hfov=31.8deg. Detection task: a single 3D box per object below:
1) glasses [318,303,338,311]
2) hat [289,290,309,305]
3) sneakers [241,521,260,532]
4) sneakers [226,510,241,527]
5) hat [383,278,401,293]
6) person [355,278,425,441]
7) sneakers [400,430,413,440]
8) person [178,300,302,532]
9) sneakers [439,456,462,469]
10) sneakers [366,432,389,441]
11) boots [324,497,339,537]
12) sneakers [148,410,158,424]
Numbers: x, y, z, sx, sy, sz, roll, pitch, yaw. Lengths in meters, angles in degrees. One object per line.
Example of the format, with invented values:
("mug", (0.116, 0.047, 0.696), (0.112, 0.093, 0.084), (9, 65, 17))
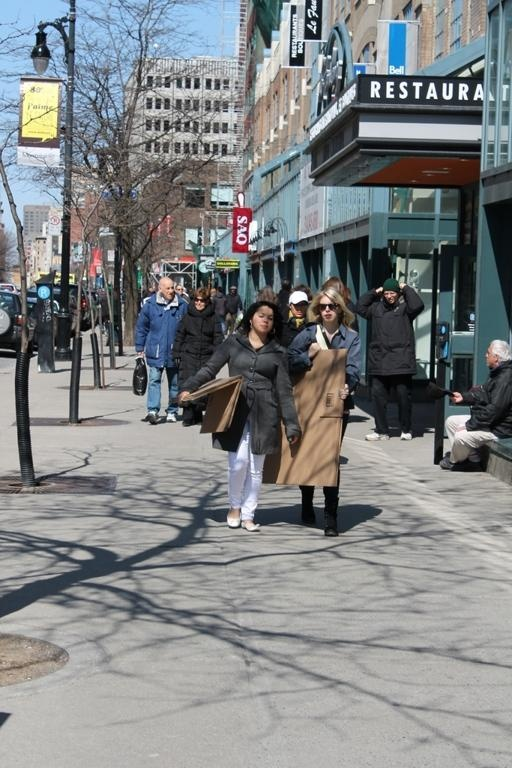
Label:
("glasses", (0.537, -0.588, 6.877), (0.136, 0.063, 0.083), (2, 2, 16))
("hat", (0.474, -0.956, 9.964), (0.222, 0.114, 0.347), (-1, 5, -5))
("sneakers", (-0.044, 1.062, 6.691), (0.057, 0.057, 0.155), (1, 0, -22))
("sneakers", (-0.174, 1.020, 6.775), (0.122, 0.084, 0.312), (0, -1, -6))
("hat", (1.812, -1.333, 12.146), (0.159, 0.166, 0.215), (3, 5, 14))
("person", (1.834, -0.353, 12.254), (0.733, 2.228, 0.856), (1, 2, -4))
("sneakers", (1.999, 0.692, 12.020), (0.123, 0.106, 0.094), (-3, 4, 24))
("person", (-0.095, 0.246, 6.597), (0.819, 1.693, 0.498), (2, 2, 3))
("sneakers", (2.098, 0.879, 9.765), (0.079, 0.099, 0.230), (23, -1, -37))
("sneakers", (1.611, 0.715, 12.002), (0.290, 0.132, 0.123), (4, -1, -7))
("boots", (0.547, 0.972, 6.640), (0.103, 0.263, 0.316), (2, 2, 5))
("sneakers", (-1.527, 0.486, 13.127), (0.205, 0.223, 0.487), (1, 0, -2))
